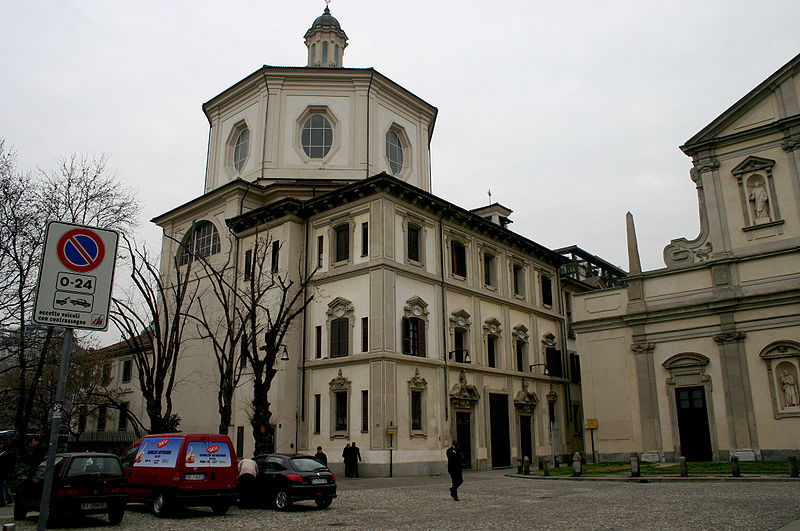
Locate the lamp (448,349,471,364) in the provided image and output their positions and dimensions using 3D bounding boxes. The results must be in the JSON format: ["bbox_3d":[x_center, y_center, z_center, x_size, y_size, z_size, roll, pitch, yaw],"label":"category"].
[{"bbox_3d":[4.161,6.064,45.362,0.315,1.028,2.140,-16,-22,39],"label":"lamp"}]

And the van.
[{"bbox_3d":[-8.526,8.179,26.371,4.053,3.089,1.781,-5,-18,13],"label":"van"}]

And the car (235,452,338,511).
[{"bbox_3d":[-4.805,8.936,28.107,3.655,1.470,2.153,-9,-20,34],"label":"car"}]

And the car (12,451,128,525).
[{"bbox_3d":[-12.076,8.200,24.809,3.886,2.577,1.892,-9,-19,25],"label":"car"}]
